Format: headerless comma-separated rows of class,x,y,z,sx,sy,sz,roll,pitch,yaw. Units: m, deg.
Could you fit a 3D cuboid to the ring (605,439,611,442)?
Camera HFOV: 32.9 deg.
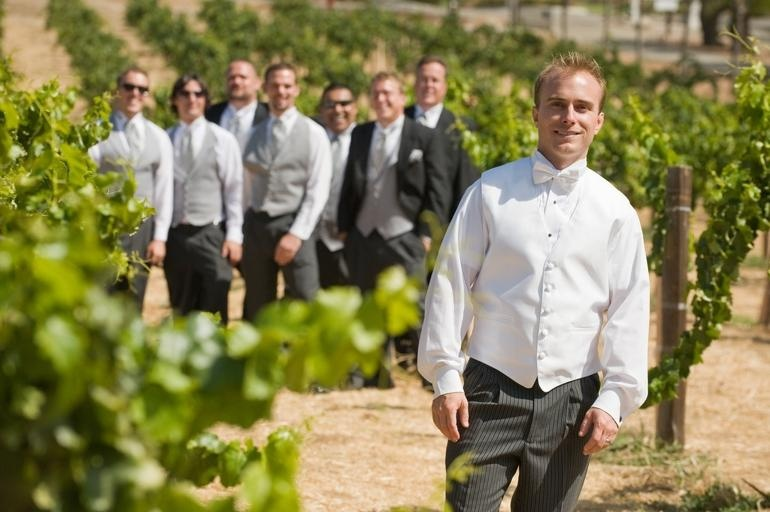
ring,1.431,1.177,8.335,0.038,0.024,0.023,1,0,1

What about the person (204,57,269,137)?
person,-1.348,-1.482,12.545,0.786,0.763,0.406,4,-1,23

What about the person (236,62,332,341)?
person,-0.914,-0.564,11.673,0.826,2.294,0.394,4,3,32
